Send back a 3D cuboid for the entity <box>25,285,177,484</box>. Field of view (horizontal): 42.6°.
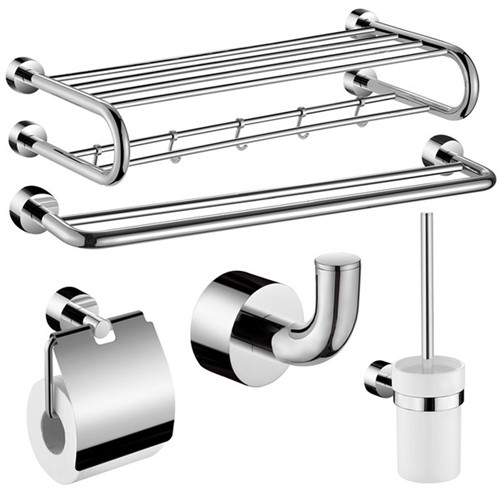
[{"bbox_3d":[-0.177,0.151,0.771,0.178,0.237,0.145,6,-33,-6],"label":"entity"}]

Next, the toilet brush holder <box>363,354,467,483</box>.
[{"bbox_3d":[0.212,0.194,0.753,0.086,0.137,0.122,-5,-34,11],"label":"toilet brush holder"}]
